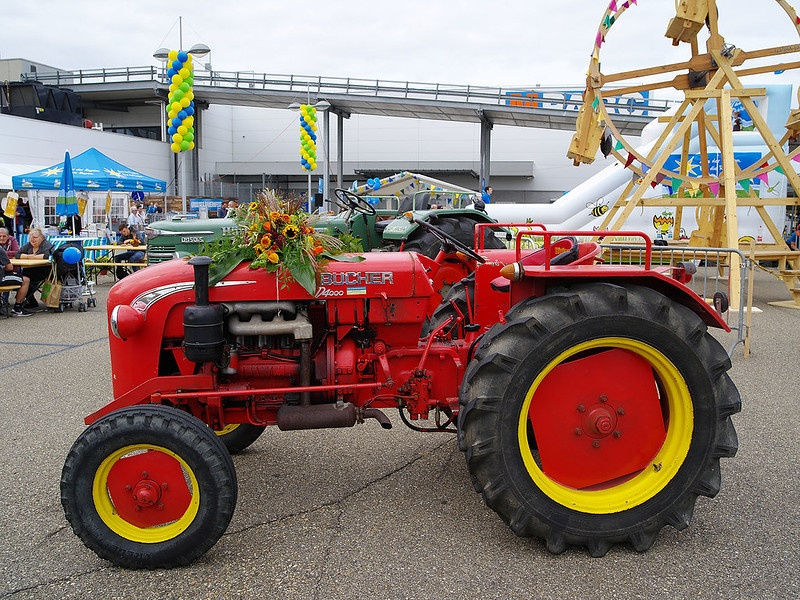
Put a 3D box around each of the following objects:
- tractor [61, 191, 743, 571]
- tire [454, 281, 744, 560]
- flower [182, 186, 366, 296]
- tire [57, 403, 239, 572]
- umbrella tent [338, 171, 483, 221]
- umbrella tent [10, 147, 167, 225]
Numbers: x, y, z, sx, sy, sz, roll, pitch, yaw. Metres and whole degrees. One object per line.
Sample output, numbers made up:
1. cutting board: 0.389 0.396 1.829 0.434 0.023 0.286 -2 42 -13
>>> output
1. tractor: 0.070 0.454 4.335 3.226 1.803 2.197 1 2 -2
2. tire: 1.114 0.712 3.646 1.313 1.459 0.481 -2 -3 -3
3. flower: -0.759 -0.355 3.957 0.710 0.372 0.746 -6 37 -16
4. tire: -1.368 1.043 3.529 0.721 0.773 0.240 5 -2 -4
5. umbrella tent: 0.194 -2.097 13.256 2.498 0.880 1.826 -6 11 -24
6. umbrella tent: -7.410 -2.850 15.022 2.286 1.132 2.380 -1 1 -15
